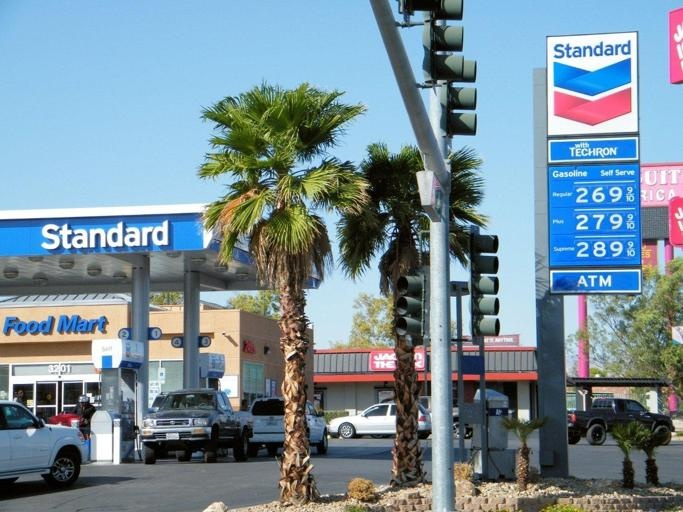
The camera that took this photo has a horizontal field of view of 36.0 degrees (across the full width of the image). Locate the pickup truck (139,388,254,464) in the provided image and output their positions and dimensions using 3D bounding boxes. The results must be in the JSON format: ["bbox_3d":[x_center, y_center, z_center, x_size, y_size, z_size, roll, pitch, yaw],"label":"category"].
[{"bbox_3d":[-4.831,5.668,34.772,2.334,2.479,3.742,-10,-14,35],"label":"pickup truck"}]

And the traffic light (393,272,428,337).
[{"bbox_3d":[1.438,1.028,21.166,0.689,1.410,0.304,-2,-9,2],"label":"traffic light"}]
